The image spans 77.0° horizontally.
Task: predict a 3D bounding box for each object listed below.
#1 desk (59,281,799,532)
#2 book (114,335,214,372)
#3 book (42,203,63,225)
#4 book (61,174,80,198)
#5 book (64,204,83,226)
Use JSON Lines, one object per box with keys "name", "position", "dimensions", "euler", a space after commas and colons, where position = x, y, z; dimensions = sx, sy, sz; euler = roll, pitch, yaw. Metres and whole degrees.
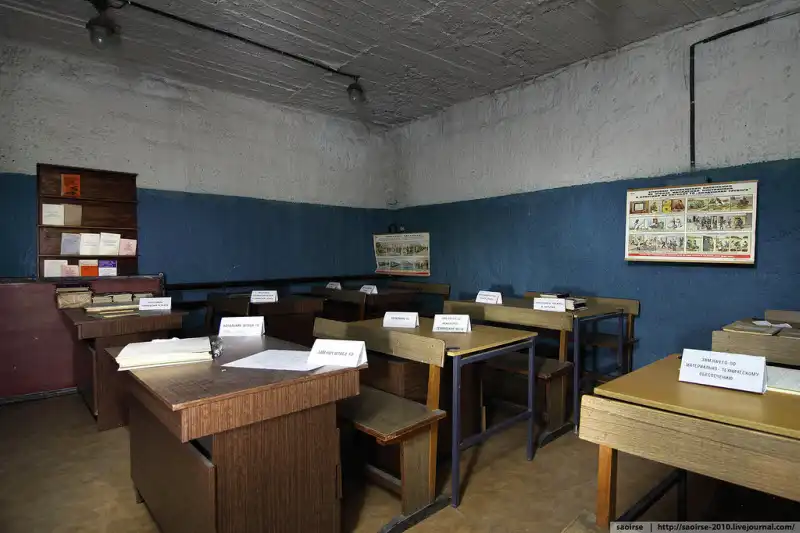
{"name": "desk", "position": [-0.722, 0.999, 4.998], "dimensions": [5.602, 1.836, 2.639], "euler": [-1, 4, 29]}
{"name": "book", "position": [-1.643, 0.605, 3.497], "dimensions": [0.385, 0.081, 0.372], "euler": [-2, 3, -42]}
{"name": "book", "position": [-4.046, -0.608, 5.810], "dimensions": [0.287, 0.297, 0.045], "euler": [1, -4, -37]}
{"name": "book", "position": [-3.871, -0.948, 5.882], "dimensions": [0.271, 0.243, 0.064], "euler": [2, 0, -38]}
{"name": "book", "position": [-3.840, -0.606, 5.882], "dimensions": [0.177, 0.250, 0.061], "euler": [-5, 5, -38]}
